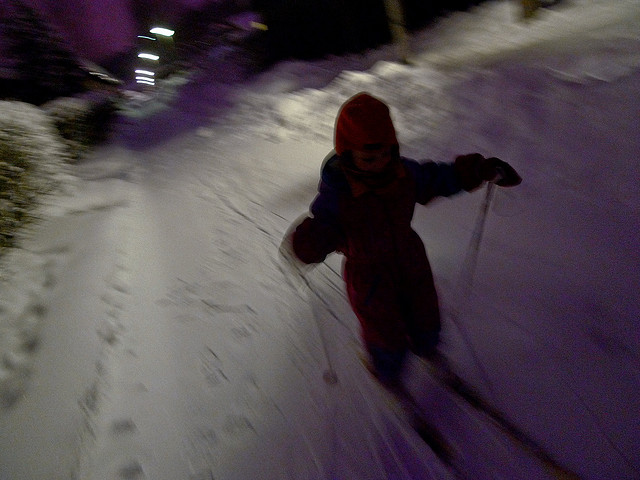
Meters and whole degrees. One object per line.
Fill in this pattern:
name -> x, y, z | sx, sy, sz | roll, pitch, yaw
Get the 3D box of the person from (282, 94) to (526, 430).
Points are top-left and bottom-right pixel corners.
person -> 0.465, 0.038, 2.554 | 0.818, 1.692, 1.015 | 18, 40, 40
